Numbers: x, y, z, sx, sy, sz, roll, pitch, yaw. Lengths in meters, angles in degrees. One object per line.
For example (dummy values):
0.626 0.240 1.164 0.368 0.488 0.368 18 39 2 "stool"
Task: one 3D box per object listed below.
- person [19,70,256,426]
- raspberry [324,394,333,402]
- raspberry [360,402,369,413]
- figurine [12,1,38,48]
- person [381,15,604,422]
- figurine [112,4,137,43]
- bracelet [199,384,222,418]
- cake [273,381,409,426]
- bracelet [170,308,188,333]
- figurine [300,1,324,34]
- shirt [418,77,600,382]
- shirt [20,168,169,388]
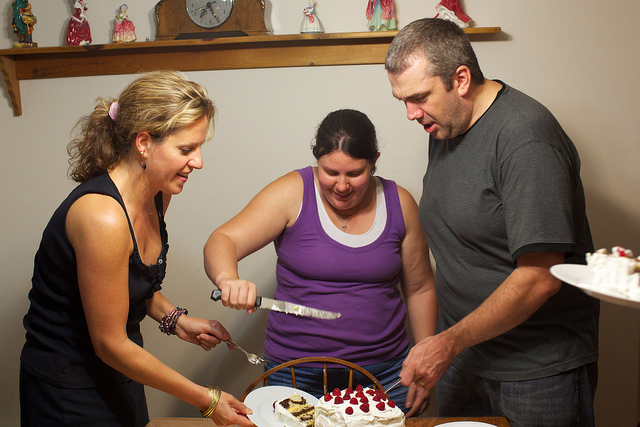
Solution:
-0.788 0.211 2.123 0.909 1.452 0.441 -6 10 -10 "person"
0.029 0.721 2.146 0.022 0.025 0.007 -4 -26 4 "raspberry"
0.170 0.742 2.102 0.034 0.027 0.027 -5 11 -5 "raspberry"
-1.637 -1.043 3.037 0.148 0.254 0.134 -5 11 -8 "figurine"
0.720 0.083 2.234 0.845 1.742 0.471 -2 10 8 "person"
-1.091 -1.045 3.030 0.131 0.207 0.126 -5 11 -6 "figurine"
-0.410 0.714 2.129 0.049 0.118 0.098 16 -10 -5 "bracelet"
0.082 0.764 2.200 0.280 0.117 0.236 0 -6 31 "cake"
-0.627 0.468 2.424 0.030 0.089 0.076 18 10 -3 "bracelet"
-0.046 -1.062 2.982 0.132 0.178 0.101 -6 11 -8 "figurine"
0.740 0.087 2.236 0.716 1.233 0.401 2 12 29 "shirt"
-0.926 0.265 2.187 0.596 0.874 0.321 -5 10 -8 "shirt"
